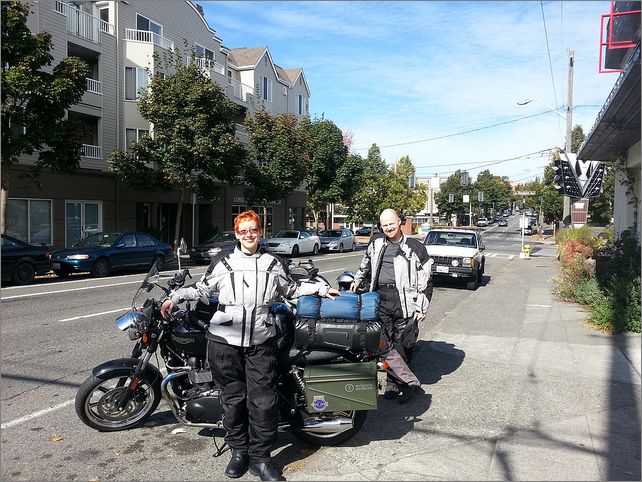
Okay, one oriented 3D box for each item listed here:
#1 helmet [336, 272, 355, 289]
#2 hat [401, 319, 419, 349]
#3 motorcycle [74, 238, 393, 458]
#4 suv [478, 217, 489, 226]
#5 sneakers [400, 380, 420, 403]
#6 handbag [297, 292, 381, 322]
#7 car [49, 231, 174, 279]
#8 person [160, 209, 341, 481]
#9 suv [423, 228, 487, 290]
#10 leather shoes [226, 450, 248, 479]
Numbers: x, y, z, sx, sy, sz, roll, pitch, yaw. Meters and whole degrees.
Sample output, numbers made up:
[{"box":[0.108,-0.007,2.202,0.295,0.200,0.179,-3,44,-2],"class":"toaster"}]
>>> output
[{"box":[0.339,0.542,6.585,0.195,0.248,0.245,29,5,4],"class":"helmet"},{"box":[1.120,1.162,6.053,0.252,0.396,0.135,-3,5,-41],"class":"hat"},{"box":[-0.979,1.217,5.208,3.240,1.907,1.407,1,8,0],"class":"motorcycle"},{"box":[34.020,-3.937,102.080,1.804,1.478,4.402,-2,-1,18],"class":"suv"},{"box":[1.113,1.877,6.057,0.148,0.169,0.421,-5,-4,25],"class":"sneakers"},{"box":[0.183,0.675,4.928,0.525,0.177,0.365,1,5,4],"class":"handbag"},{"box":[-7.583,0.547,17.628,1.720,1.302,3.830,-2,-3,31],"class":"car"},{"box":[-0.720,0.987,4.675,1.237,2.522,0.643,-1,4,-2],"class":"person"},{"box":[4.677,0.523,16.700,1.835,1.665,3.458,-1,-3,15],"class":"suv"},{"box":[-0.789,2.124,4.606,0.130,0.134,0.301,2,-9,5],"class":"leather shoes"}]
